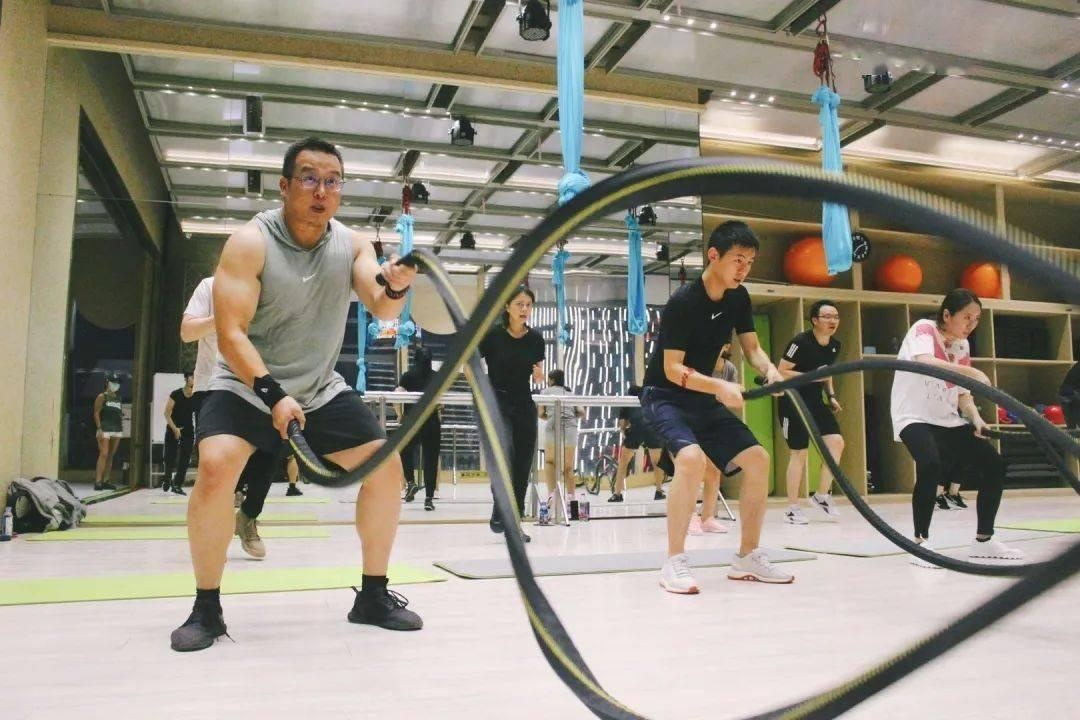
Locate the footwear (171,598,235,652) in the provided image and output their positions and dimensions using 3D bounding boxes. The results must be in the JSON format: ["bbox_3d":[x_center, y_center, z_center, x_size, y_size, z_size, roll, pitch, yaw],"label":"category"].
[{"bbox_3d":[-1.626,1.283,4.121,0.147,0.126,0.258,-3,-13,8],"label":"footwear"}]

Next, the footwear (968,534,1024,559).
[{"bbox_3d":[2.824,1.161,5.375,0.321,0.139,0.122,0,-6,4],"label":"footwear"}]

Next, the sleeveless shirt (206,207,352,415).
[{"bbox_3d":[-1.275,-0.177,4.498,0.606,1.090,0.326,4,-2,-26],"label":"sleeveless shirt"}]

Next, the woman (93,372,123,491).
[{"bbox_3d":[-4.025,0.680,8.071,0.120,1.039,0.306,1,1,21],"label":"woman"}]

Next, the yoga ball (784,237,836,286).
[{"bbox_3d":[2.887,-1.035,9.545,0.564,0.655,0.568,-3,4,0],"label":"yoga ball"}]

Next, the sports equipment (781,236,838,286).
[{"bbox_3d":[2.894,-1.040,9.527,0.569,0.662,0.573,-2,5,13],"label":"sports equipment"}]

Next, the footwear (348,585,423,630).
[{"bbox_3d":[-0.765,1.248,4.378,0.396,0.170,0.158,2,-11,17],"label":"footwear"}]

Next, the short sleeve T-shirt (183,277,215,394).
[{"bbox_3d":[-2.416,-0.183,6.091,0.243,0.831,0.342,0,-16,-35],"label":"short sleeve T-shirt"}]
